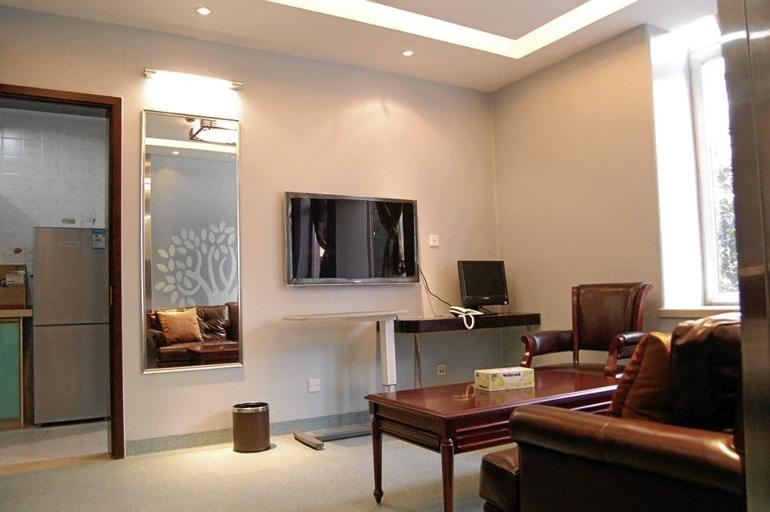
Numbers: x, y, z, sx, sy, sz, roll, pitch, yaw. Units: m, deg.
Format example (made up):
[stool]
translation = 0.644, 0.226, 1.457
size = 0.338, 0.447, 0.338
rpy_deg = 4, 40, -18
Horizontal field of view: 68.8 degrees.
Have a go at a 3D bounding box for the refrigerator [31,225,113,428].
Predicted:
[refrigerator]
translation = -3.158, 0.690, 5.652
size = 0.646, 1.965, 0.182
rpy_deg = -1, -1, -31

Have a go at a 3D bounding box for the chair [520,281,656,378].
[chair]
translation = 1.757, 0.541, 4.734
size = 0.883, 1.107, 0.826
rpy_deg = 10, -10, -43

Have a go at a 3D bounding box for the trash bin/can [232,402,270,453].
[trash bin/can]
translation = -1.065, 1.389, 4.614
size = 0.354, 0.353, 0.346
rpy_deg = 0, -3, -1

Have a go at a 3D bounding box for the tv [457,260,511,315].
[tv]
translation = 0.988, 0.310, 5.712
size = 0.536, 0.484, 0.217
rpy_deg = 2, -14, -23

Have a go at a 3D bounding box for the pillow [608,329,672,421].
[pillow]
translation = 1.028, 0.499, 2.381
size = 0.127, 0.311, 0.316
rpy_deg = 5, -9, 25
